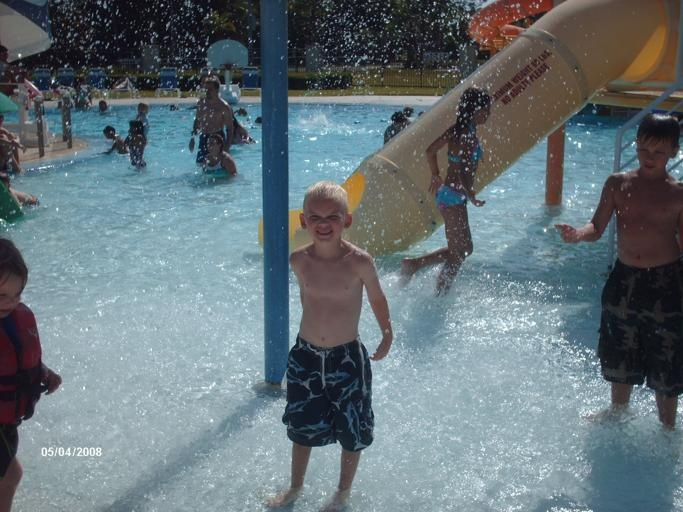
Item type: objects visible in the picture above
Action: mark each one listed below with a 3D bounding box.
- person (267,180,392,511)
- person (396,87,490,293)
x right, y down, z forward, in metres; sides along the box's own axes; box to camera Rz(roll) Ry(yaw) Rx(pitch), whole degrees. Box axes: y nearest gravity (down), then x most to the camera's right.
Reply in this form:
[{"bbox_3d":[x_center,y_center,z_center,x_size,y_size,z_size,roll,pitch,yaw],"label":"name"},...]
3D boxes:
[{"bbox_3d":[-0.056,0.467,3.656,0.614,1.634,0.486,0,17,4],"label":"person"},{"bbox_3d":[0.839,-0.539,5.750,0.648,1.579,0.586,2,18,12],"label":"person"}]
